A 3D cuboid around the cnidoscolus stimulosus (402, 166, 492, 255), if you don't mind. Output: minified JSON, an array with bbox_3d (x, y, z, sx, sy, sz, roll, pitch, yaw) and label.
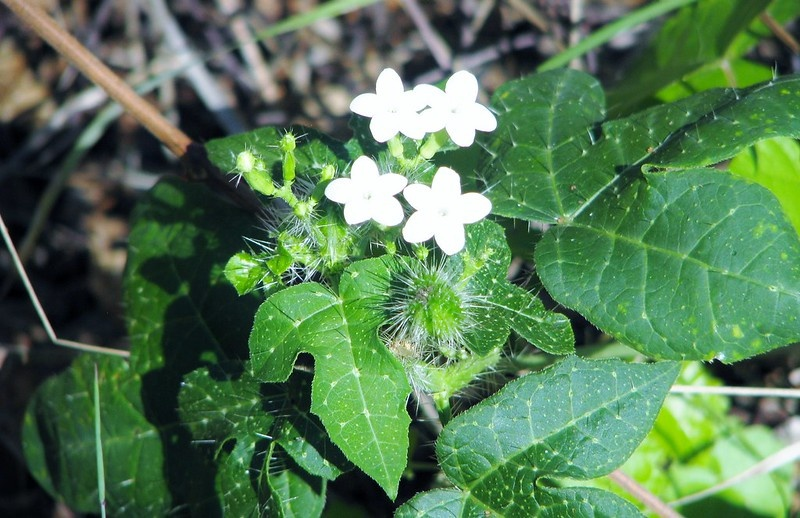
[{"bbox_3d":[0.139,-0.146,2.573,0.288,0.221,0.148,-20,30,0],"label":"cnidoscolus stimulosus"}]

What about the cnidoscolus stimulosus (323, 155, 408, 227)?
[{"bbox_3d":[-0.098,-0.199,2.576,0.250,0.194,0.146,-20,30,1],"label":"cnidoscolus stimulosus"}]

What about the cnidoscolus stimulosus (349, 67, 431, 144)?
[{"bbox_3d":[-0.020,-0.464,2.652,0.230,0.258,0.193,-12,31,14],"label":"cnidoscolus stimulosus"}]
